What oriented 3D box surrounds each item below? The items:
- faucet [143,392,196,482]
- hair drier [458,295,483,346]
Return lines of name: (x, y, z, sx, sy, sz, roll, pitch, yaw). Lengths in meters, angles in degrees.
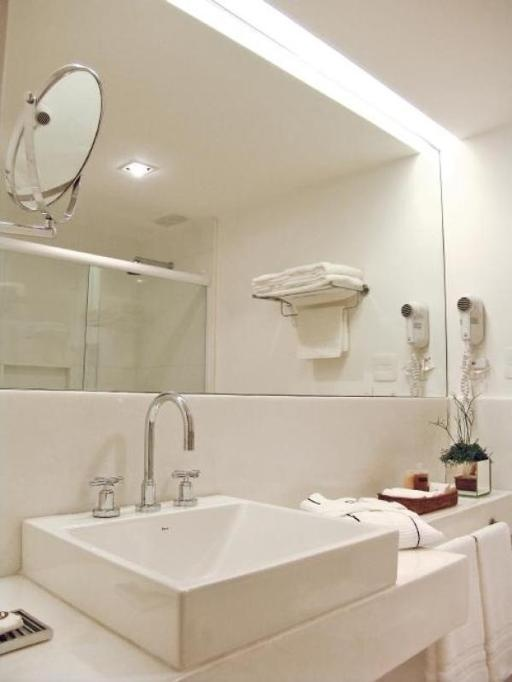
faucet: (-0.172, 0.186, 1.141, 0.103, 0.145, 0.222, 7, 2, -6)
hair drier: (0.849, -0.076, 2.208, 0.112, 0.202, 0.061, 6, 2, -13)
